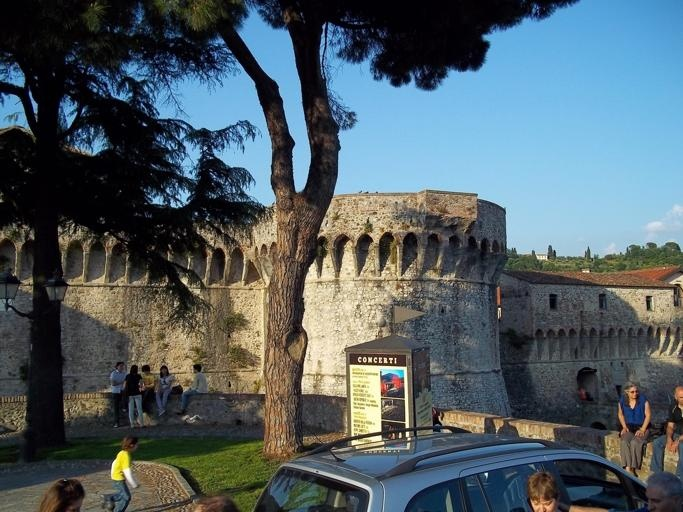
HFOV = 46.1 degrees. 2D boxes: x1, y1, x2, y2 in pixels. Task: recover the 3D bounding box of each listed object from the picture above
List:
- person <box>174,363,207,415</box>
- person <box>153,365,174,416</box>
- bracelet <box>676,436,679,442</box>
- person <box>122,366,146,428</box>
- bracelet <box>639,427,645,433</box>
[{"bbox_3d":[-4.397,3.952,23.675,0.805,1.488,0.967,2,-10,-12],"label":"person"},{"bbox_3d":[-5.161,3.917,23.286,0.419,1.416,0.584,2,-9,-14],"label":"person"},{"bbox_3d":[6.903,3.768,16.515,0.036,0.182,0.033,-10,23,-23],"label":"bracelet"},{"bbox_3d":[-5.871,4.009,22.830,0.543,1.725,1.101,2,-10,-14],"label":"person"},{"bbox_3d":[6.405,3.719,17.102,0.089,0.073,0.036,19,-36,19],"label":"bracelet"}]
